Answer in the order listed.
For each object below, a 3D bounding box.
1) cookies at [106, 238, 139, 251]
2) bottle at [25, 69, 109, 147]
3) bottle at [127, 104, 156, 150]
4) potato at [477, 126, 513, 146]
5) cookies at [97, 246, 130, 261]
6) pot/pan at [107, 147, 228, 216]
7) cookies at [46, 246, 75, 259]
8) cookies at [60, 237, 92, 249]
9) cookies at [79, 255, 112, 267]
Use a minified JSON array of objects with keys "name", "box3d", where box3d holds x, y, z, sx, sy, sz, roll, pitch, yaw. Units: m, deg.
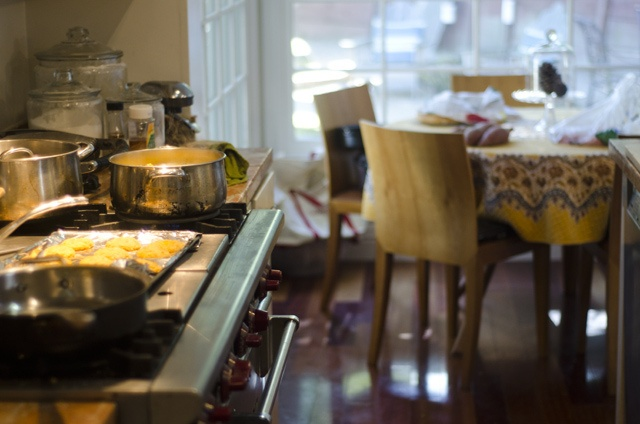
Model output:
[{"name":"cookies","box3d":[-0.398,0.062,1.127,0.044,0.007,0.032,-10,18,-44]},{"name":"bottle","box3d":[-0.798,-0.327,1.744,0.222,0.216,0.172,-10,15,-22]},{"name":"bottle","box3d":[-0.560,-0.260,1.735,0.087,0.133,0.087,-4,14,1]},{"name":"potato","box3d":[0.709,-0.295,2.251,0.140,0.073,0.044,-16,5,7]},{"name":"cookies","box3d":[-0.405,0.083,1.092,0.034,0.008,0.033,3,16,5]},{"name":"pot/pan","box3d":[-0.340,-0.116,1.265,0.192,0.085,0.243,-14,20,-41]},{"name":"cookies","box3d":[-0.510,0.079,1.093,0.032,0.006,0.032,7,15,11]},{"name":"cookies","box3d":[-0.488,0.066,1.131,0.035,0.006,0.029,5,13,19]},{"name":"cookies","box3d":[-0.428,0.095,1.054,0.031,0.007,0.030,2,9,17]}]
